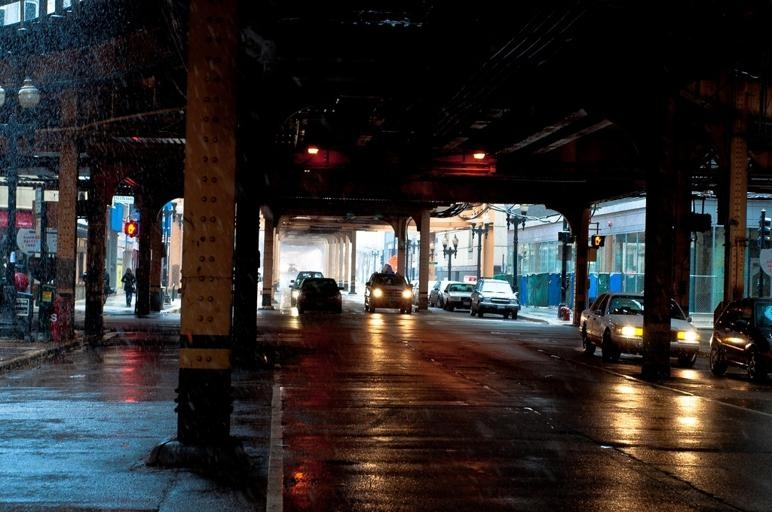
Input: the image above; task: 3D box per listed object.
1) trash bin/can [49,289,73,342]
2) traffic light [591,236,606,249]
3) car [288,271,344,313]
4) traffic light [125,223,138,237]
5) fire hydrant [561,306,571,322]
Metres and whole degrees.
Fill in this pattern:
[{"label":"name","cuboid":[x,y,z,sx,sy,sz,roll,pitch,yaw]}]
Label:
[{"label":"trash bin/can","cuboid":[-11.292,2.456,25.459,0.602,2.613,0.787,8,-4,-27]},{"label":"traffic light","cuboid":[11.994,-0.808,41.590,0.661,0.703,1.418,1,-3,16]},{"label":"car","cuboid":[-4.207,2.544,46.320,2.535,2.323,1.821,2,-3,-19]},{"label":"traffic light","cuboid":[-14.952,-1.591,43.033,0.701,0.871,1.769,2,-3,-19]},{"label":"fire hydrant","cuboid":[11.525,3.708,47.185,0.531,0.906,0.850,1,-2,3]}]
